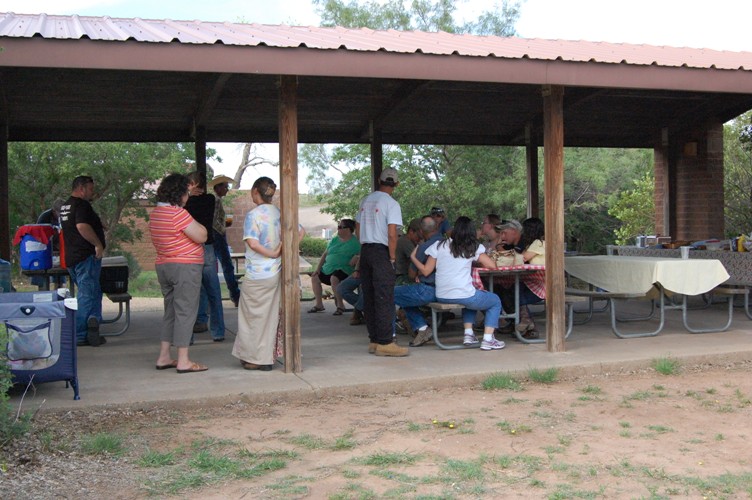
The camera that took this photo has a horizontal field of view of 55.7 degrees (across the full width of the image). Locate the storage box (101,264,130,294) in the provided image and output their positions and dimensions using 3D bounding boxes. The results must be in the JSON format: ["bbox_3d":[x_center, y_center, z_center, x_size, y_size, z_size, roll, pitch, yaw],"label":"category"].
[{"bbox_3d":[-3.619,0.381,9.915,0.396,0.369,0.381,-1,3,-21],"label":"storage box"}]

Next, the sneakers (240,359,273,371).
[{"bbox_3d":[-1.352,1.293,8.060,0.355,0.142,0.124,8,0,-4],"label":"sneakers"}]

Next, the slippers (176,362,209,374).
[{"bbox_3d":[-2.042,1.279,7.919,0.293,0.066,0.131,-1,2,-3],"label":"slippers"}]

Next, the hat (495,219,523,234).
[{"bbox_3d":[1.834,-0.327,9.643,0.315,0.147,0.193,3,-5,-20],"label":"hat"}]

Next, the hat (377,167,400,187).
[{"bbox_3d":[0.149,-0.903,8.701,0.216,0.258,0.336,-2,-2,7],"label":"hat"}]

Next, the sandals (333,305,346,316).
[{"bbox_3d":[-0.615,0.995,11.953,0.154,0.114,0.421,-1,-3,5],"label":"sandals"}]

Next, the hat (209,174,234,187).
[{"bbox_3d":[-2.189,-1.006,10.137,0.244,0.083,0.215,-3,-2,-33],"label":"hat"}]

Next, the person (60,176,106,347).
[{"bbox_3d":[-3.781,0.131,9.133,0.508,2.164,0.679,-1,-2,-17],"label":"person"}]

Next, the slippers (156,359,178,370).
[{"bbox_3d":[-2.385,1.277,8.066,0.201,0.068,0.090,-2,1,-17],"label":"slippers"}]

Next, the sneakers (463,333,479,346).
[{"bbox_3d":[1.203,1.117,9.078,0.111,0.138,0.311,-2,2,23],"label":"sneakers"}]

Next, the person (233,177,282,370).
[{"bbox_3d":[-1.317,0.242,7.949,0.494,2.159,0.519,-1,-2,-11],"label":"person"}]

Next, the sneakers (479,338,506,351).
[{"bbox_3d":[1.468,1.155,8.932,0.354,0.159,0.123,-2,3,-20],"label":"sneakers"}]

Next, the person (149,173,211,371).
[{"bbox_3d":[-2.182,0.248,7.901,0.606,2.176,0.584,-1,-2,-9],"label":"person"}]

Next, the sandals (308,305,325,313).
[{"bbox_3d":[-1.039,1.007,12.298,0.308,0.106,0.105,1,-3,-13],"label":"sandals"}]
